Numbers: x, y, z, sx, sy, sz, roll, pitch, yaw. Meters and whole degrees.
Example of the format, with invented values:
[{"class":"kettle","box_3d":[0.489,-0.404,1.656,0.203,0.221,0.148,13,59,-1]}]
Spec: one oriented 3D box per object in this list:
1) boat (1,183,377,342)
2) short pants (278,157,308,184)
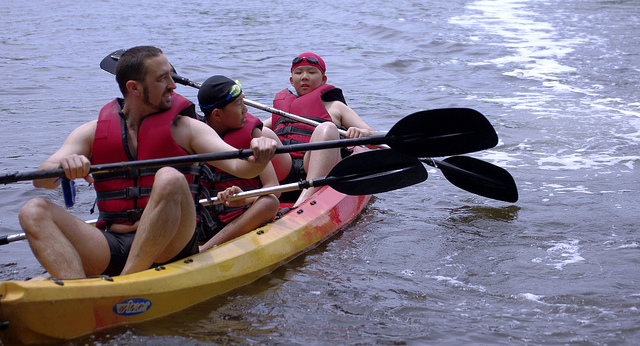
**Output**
[{"class":"boat","box_3d":[-1.448,1.137,8.544,5.310,0.697,1.693,-18,7,-37]},{"class":"short pants","box_3d":[-0.406,-0.034,9.941,0.444,0.320,0.163,4,-17,34]}]
